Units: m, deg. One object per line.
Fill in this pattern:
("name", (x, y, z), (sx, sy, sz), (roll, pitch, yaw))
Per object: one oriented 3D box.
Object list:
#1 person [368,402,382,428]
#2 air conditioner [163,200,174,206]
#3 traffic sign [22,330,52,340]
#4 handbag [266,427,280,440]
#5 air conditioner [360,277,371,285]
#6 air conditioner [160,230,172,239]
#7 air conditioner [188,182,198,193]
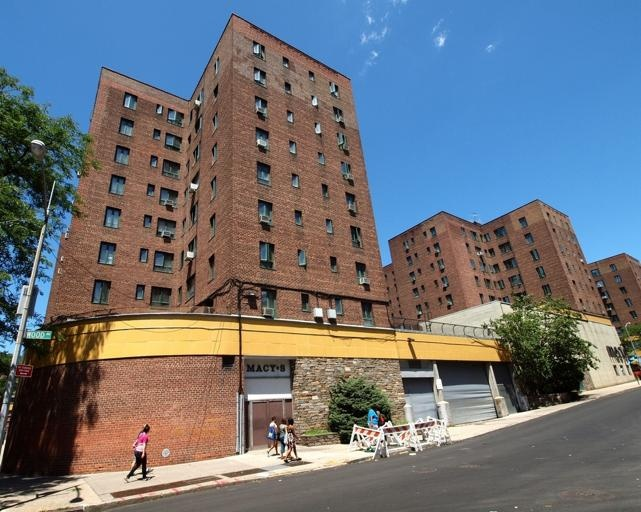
("person", (3.271, 9.473, 22.614), (0.687, 1.315, 3.257), (-7, -23, 7))
("air conditioner", (-14.692, -5.193, 36.743), (1.065, 0.556, 0.290), (13, -27, -36))
("traffic sign", (-11.709, 3.154, 15.632), (0.813, 0.478, 0.954), (15, -30, -40))
("handbag", (-2.522, 9.285, 19.963), (0.547, 0.749, 0.913), (-1, -22, -8))
("air conditioner", (3.832, 2.067, 32.473), (1.238, 0.740, 0.236), (15, -29, -40))
("air conditioner", (-14.385, -2.132, 35.499), (1.032, 0.840, 0.404), (7, -24, -27))
("air conditioner", (-11.452, -6.411, 34.091), (0.800, 0.834, 1.094), (-4, -7, -16))
